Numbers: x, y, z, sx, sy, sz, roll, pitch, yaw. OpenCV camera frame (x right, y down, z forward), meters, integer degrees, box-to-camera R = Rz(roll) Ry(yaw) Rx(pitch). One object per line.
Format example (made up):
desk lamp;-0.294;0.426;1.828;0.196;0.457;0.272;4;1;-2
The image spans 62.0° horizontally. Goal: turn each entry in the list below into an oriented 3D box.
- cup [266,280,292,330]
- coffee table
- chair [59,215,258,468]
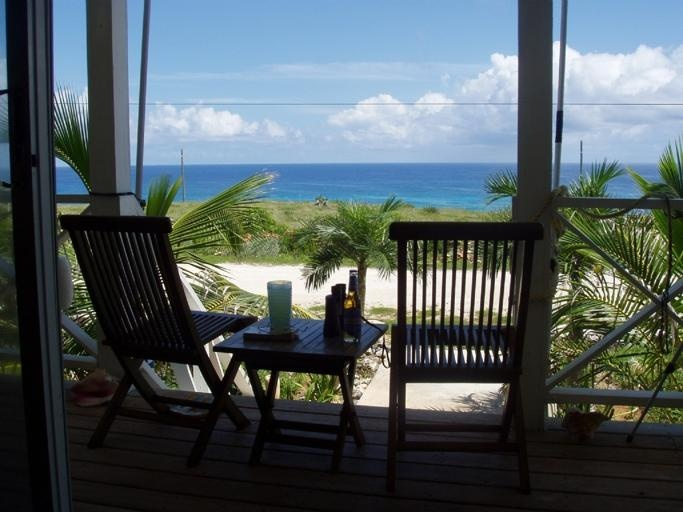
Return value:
cup;-0.271;0.225;2.581;0.171;0.214;0.178;-1;3;0
coffee table;-0.170;0.604;2.599;0.710;0.569;0.440;2;14;10
chair;-0.830;0.356;2.753;0.628;1.115;0.819;1;7;8
